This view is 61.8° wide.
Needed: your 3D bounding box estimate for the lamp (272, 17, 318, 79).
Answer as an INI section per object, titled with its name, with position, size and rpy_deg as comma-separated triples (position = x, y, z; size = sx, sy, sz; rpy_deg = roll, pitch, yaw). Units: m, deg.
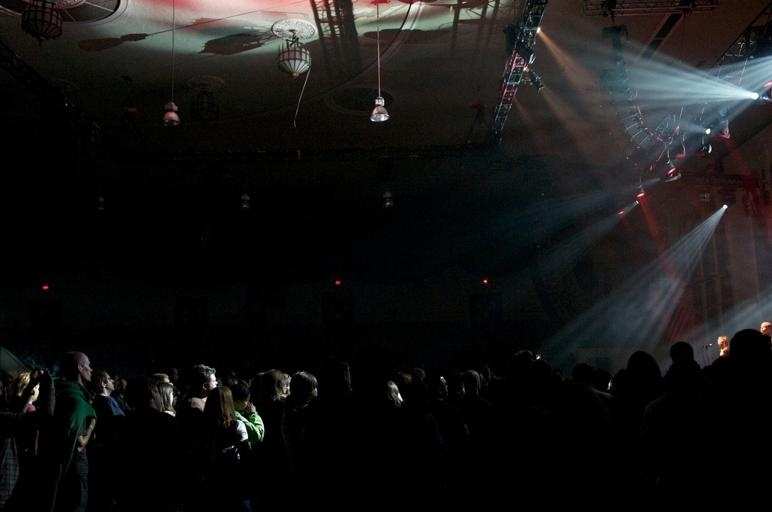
[lamp]
position = -1.783, -4.027, 12.465
size = 0.907, 0.920, 0.856
rpy_deg = 4, 11, 10
